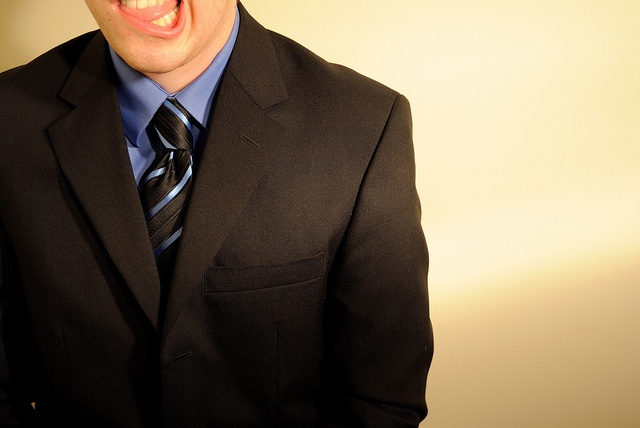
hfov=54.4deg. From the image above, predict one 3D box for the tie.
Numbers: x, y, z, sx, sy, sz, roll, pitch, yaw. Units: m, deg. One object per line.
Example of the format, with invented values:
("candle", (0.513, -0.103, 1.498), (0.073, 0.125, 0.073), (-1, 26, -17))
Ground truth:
("tie", (-0.360, -0.079, 1.460), (0.128, 0.383, 0.057), (-3, -2, -14))
